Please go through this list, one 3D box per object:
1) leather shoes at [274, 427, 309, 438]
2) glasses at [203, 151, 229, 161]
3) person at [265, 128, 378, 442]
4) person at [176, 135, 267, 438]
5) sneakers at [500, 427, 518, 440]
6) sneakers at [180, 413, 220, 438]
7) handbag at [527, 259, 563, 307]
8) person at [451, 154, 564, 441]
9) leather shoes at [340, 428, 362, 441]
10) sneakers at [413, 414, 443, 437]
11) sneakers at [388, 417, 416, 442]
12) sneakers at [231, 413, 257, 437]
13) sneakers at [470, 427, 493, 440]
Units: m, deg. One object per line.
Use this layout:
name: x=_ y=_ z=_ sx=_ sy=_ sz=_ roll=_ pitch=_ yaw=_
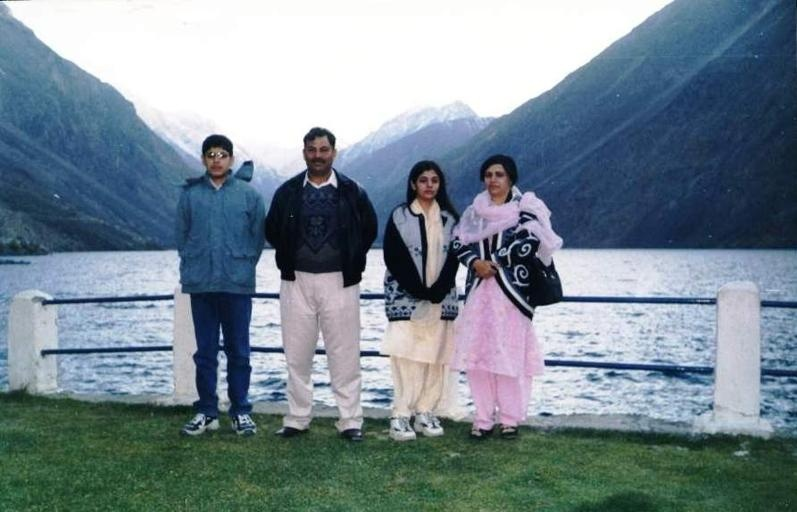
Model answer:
leather shoes: x=-1.202 y=1.953 z=7.654 sx=0.288 sy=0.108 sz=0.124 roll=7 pitch=-6 yaw=-11
glasses: x=-2.042 y=-1.115 z=7.749 sx=0.236 sy=0.105 sz=0.041 roll=2 pitch=-8 yaw=-14
person: x=-0.867 y=0.320 z=7.697 sx=1.162 sy=3.374 sz=0.690 roll=1 pitch=-8 yaw=-10
person: x=-2.025 y=0.332 z=7.778 sx=0.977 sy=3.296 sz=0.660 roll=2 pitch=-8 yaw=-13
sneakers: x=1.210 y=1.930 z=7.599 sx=0.145 sy=0.123 sz=0.133 roll=1 pitch=-3 yaw=15
sneakers: x=-2.224 y=1.887 z=7.763 sx=0.397 sy=0.171 sz=0.167 roll=5 pitch=-5 yaw=-39
handbag: x=1.612 y=0.302 z=7.613 sx=0.347 sy=0.499 sz=0.276 roll=-2 pitch=-8 yaw=13
person: x=1.170 y=0.436 z=7.623 sx=1.109 sy=3.083 sz=0.476 roll=-2 pitch=-8 yaw=11
leather shoes: x=-0.524 y=1.970 z=7.610 sx=0.093 sy=0.109 sz=0.266 roll=1 pitch=-6 yaw=-37
sneakers: x=0.326 y=1.893 z=7.739 sx=0.333 sy=0.242 sz=0.203 roll=-1 pitch=-8 yaw=3
sneakers: x=0.029 y=1.915 z=7.687 sx=0.178 sy=0.199 sz=0.332 roll=4 pitch=-10 yaw=-26
sneakers: x=-1.720 y=1.883 z=7.721 sx=0.149 sy=0.151 sz=0.355 roll=0 pitch=-4 yaw=-29
sneakers: x=0.901 y=1.941 z=7.605 sx=0.103 sy=0.114 sz=0.267 roll=-1 pitch=0 yaw=25
